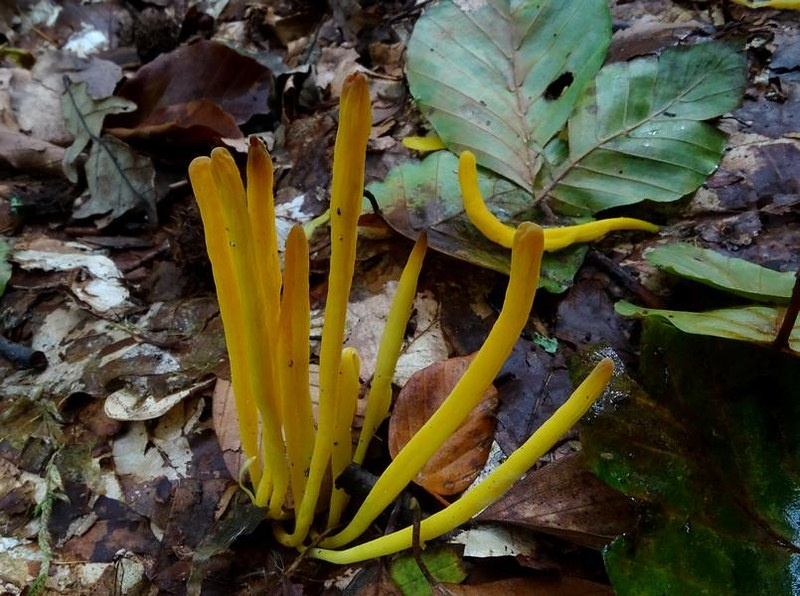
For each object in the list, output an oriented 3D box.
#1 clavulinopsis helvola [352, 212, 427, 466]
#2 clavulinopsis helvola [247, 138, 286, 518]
[{"bbox_3d":[-0.020,0.105,1.901,0.065,0.621,0.048,12,25,-14],"label":"clavulinopsis helvola"},{"bbox_3d":[-0.238,0.055,1.581,0.063,0.058,0.682,-3,93,-11],"label":"clavulinopsis helvola"}]
